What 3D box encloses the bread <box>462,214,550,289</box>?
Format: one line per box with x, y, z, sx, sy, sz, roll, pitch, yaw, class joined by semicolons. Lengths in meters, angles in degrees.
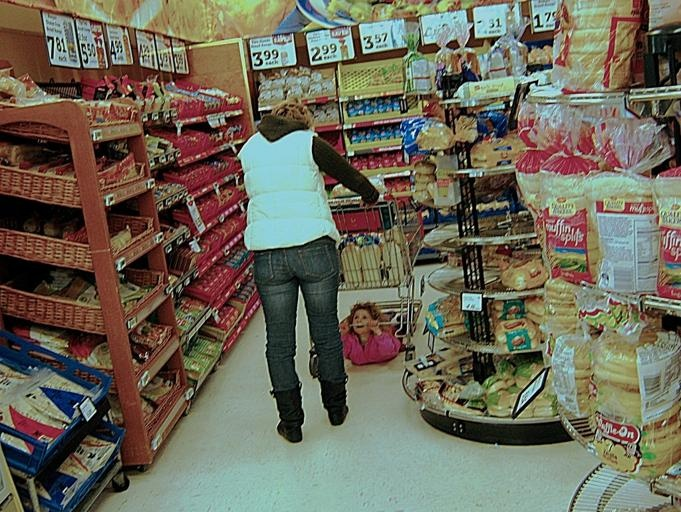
1.007;-0.033;2.926;0.402;0.202;0.545;-10;24;15;bread

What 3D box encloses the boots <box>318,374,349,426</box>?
-0.040;0.968;3.237;0.160;0.341;0.339;-1;15;4;boots

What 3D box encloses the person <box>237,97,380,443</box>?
-0.219;0.089;3.104;0.722;2.142;0.402;-9;13;-12;person

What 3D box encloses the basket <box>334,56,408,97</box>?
0.353;-2.254;6.057;0.825;0.474;0.461;-5;14;7;basket
